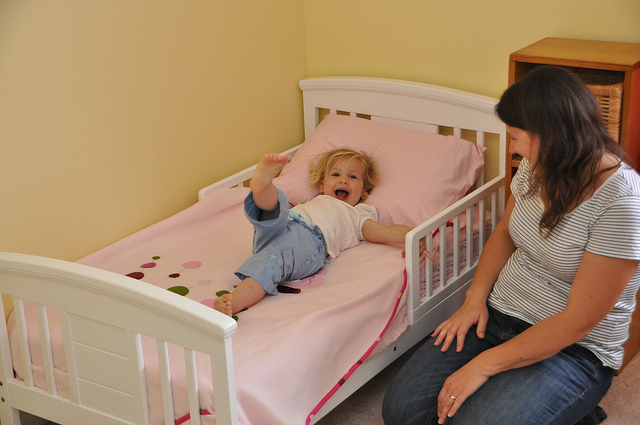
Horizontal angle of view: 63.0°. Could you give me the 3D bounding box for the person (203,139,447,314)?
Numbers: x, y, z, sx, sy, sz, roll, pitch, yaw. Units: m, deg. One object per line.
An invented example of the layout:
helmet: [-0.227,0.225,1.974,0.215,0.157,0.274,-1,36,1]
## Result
person: [-0.057,0.033,2.277,0.685,0.328,0.808,15,31,39]

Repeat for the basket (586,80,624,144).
basket: [1.080,-0.380,1.984,0.135,0.217,0.115,0,18,6]
